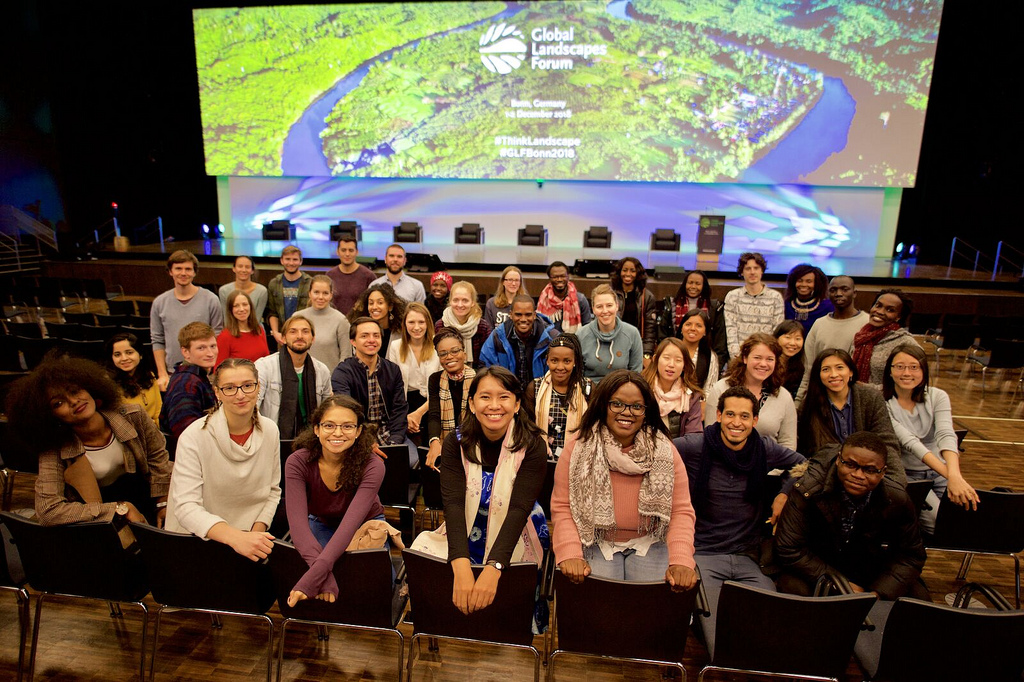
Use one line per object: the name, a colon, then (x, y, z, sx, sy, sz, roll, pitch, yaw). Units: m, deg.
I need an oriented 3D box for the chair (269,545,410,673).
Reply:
chair: (-1.204, 1.871, 4.813, 0.708, 1.162, 0.804, 2, 31, -1)

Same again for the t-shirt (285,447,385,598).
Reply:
t-shirt: (-1.308, 1.224, 4.893, 0.523, 0.440, 1.042, 5, 30, -7)

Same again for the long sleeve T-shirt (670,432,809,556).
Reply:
long sleeve T-shirt: (1.686, 1.151, 5.380, 1.289, 0.942, 0.351, 0, 21, -1)

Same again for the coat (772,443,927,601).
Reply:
coat: (2.434, 1.358, 5.032, 0.793, 0.966, 0.662, 10, 41, 22)

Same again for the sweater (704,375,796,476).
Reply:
sweater: (2.069, 0.723, 6.061, 0.942, 1.180, 0.442, -5, 47, 9)

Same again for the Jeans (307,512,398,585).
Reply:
Jeans: (-1.163, 1.559, 5.178, 0.780, 0.206, 0.868, -31, -20, 23)

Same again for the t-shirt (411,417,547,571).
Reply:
t-shirt: (-0.279, 1.110, 4.965, 0.873, 0.940, 0.644, 6, 12, -27)

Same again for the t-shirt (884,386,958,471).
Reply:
t-shirt: (3.468, 0.741, 5.878, 0.503, 0.668, 0.649, -9, 11, 4)

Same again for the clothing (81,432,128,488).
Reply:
clothing: (-3.023, 0.863, 5.088, 0.216, 0.380, 0.295, 10, 25, 29)

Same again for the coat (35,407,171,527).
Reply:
coat: (-3.025, 0.919, 5.031, 0.726, 0.673, 0.407, -15, 39, -41)

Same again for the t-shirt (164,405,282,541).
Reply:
t-shirt: (-2.078, 0.973, 5.262, 0.781, 0.952, 0.894, 8, 3, -36)
